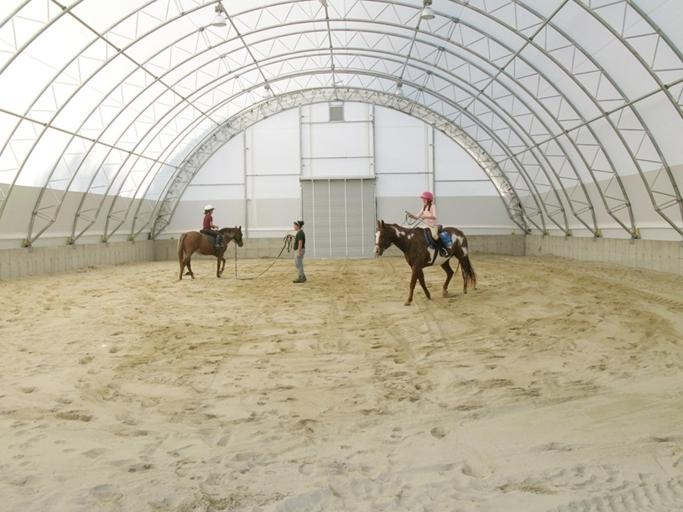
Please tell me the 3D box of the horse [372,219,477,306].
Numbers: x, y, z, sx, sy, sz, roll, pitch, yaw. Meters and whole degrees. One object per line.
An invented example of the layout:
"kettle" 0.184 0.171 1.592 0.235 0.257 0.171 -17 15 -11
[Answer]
"horse" 2.426 0.143 13.910 2.970 2.305 0.852 -2 3 -16

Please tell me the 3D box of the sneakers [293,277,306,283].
"sneakers" -1.417 0.806 16.826 0.412 0.194 0.157 2 -2 -27

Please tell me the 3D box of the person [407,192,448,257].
"person" 2.380 -0.837 13.548 0.656 1.815 0.677 -11 -4 -22

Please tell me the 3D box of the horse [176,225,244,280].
"horse" -4.746 -0.156 18.212 2.362 2.078 0.651 4 0 -34

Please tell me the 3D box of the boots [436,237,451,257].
"boots" 2.762 -0.286 13.548 0.317 0.583 0.207 -3 8 -12
